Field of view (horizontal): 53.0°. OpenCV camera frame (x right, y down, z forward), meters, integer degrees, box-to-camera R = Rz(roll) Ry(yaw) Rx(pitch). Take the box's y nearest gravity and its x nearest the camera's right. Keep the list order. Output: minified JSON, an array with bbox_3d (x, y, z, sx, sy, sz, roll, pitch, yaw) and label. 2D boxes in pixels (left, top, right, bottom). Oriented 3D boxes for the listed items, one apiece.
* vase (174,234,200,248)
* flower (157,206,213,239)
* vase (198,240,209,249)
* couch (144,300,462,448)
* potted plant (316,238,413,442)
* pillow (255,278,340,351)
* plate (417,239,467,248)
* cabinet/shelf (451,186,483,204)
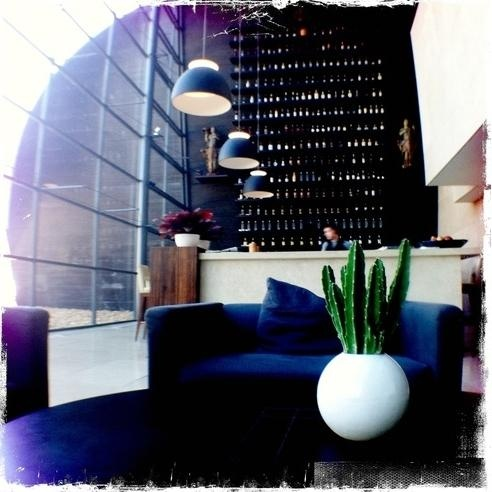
[{"bbox_3d":[-0.353,-0.033,2.932,0.103,0.047,0.095,4,-7,-22],"label":"vase"},{"bbox_3d":[-0.365,-0.120,2.975,0.236,0.093,0.238,-5,-2,30],"label":"flower"},{"bbox_3d":[-0.264,-0.007,3.103,0.058,0.038,0.056,0,4,-38],"label":"vase"},{"bbox_3d":[0.051,0.447,1.711,0.710,0.340,0.487,-1,-16,4],"label":"couch"},{"bbox_3d":[0.288,0.217,1.167,0.261,0.455,0.239,-5,3,6],"label":"potted plant"},{"bbox_3d":[0.220,0.339,2.105,0.312,0.248,0.086,12,-29,0],"label":"pillow"},{"bbox_3d":[1.162,-0.012,2.890,0.248,0.048,0.182,-3,3,23],"label":"plate"},{"bbox_3d":[2.702,-0.606,5.824,0.235,0.241,0.290,4,10,-16],"label":"cabinet/shelf"}]
